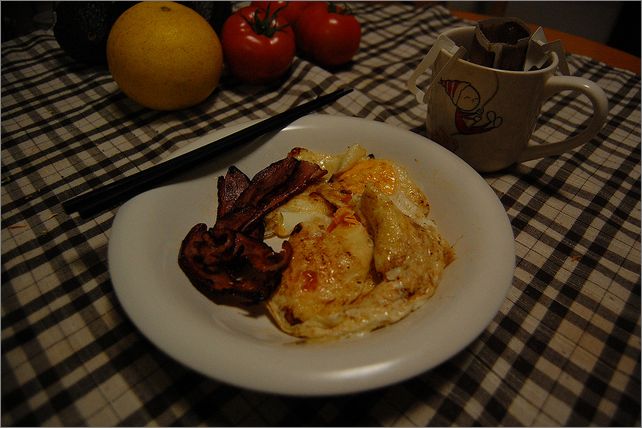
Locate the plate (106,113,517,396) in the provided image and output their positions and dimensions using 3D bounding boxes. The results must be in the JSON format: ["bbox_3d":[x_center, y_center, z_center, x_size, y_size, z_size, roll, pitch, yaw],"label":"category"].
[{"bbox_3d":[-0.022,0.091,1.512,1.165,0.247,0.923,-14,69,-10],"label":"plate"}]

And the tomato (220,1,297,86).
[{"bbox_3d":[-0.264,-0.678,2.121,0.284,0.300,0.306,-18,69,-33],"label":"tomato"}]
